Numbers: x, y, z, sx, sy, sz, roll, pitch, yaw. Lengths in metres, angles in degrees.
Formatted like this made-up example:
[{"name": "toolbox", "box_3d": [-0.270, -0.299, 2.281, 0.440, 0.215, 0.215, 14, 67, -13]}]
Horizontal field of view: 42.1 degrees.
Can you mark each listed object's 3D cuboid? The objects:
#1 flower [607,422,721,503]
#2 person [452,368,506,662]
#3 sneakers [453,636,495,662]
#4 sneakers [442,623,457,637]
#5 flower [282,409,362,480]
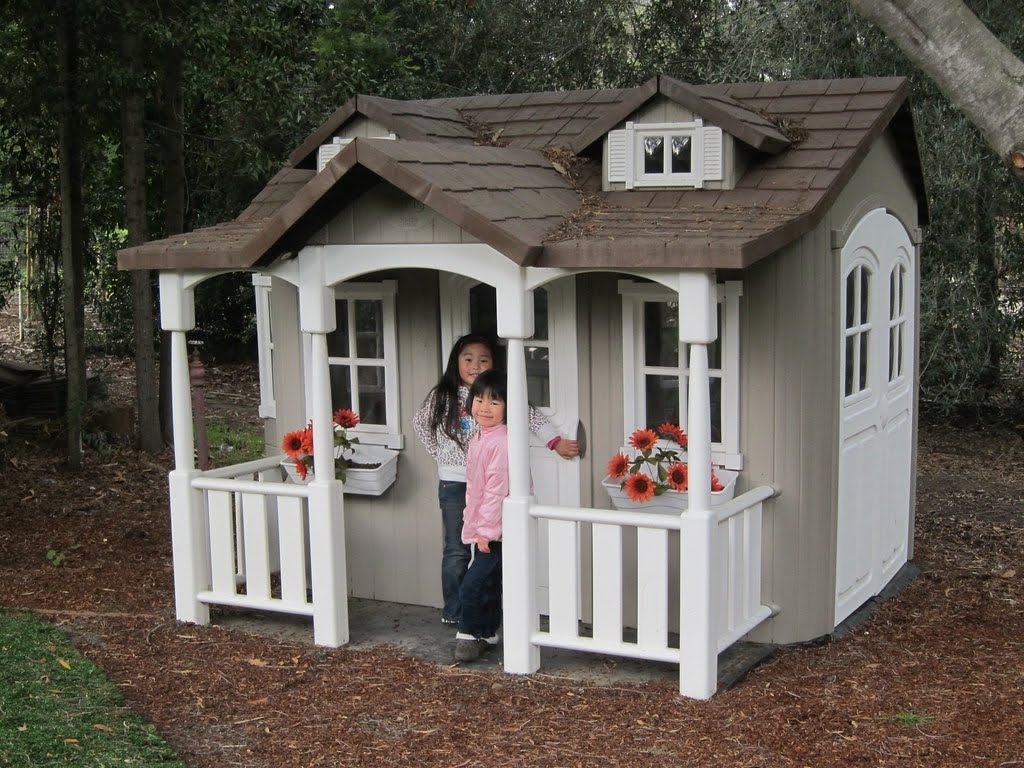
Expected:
[{"name": "flower", "box_3d": [0.957, 0.565, 9.398, 0.553, 0.501, 0.577, 0, 12, 4]}, {"name": "person", "box_3d": [-0.217, 0.923, 9.339, 0.393, 1.965, 0.490, -1, 11, -1]}, {"name": "sneakers", "box_3d": [-0.263, 1.849, 9.394, 0.111, 0.143, 0.313, 4, 9, 38]}, {"name": "sneakers", "box_3d": [-0.457, 1.814, 9.798, 0.048, 0.063, 0.133, -1, 0, -27]}, {"name": "flower", "box_3d": [-1.455, 0.516, 10.167, 0.573, 0.548, 0.960, -2, 12, -5]}]
